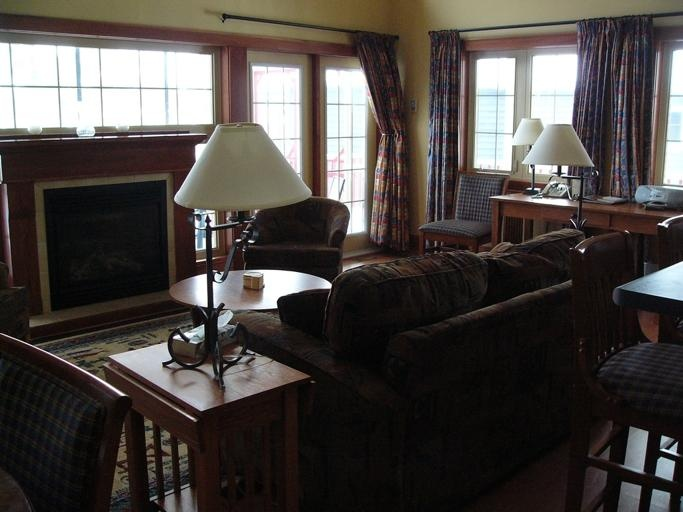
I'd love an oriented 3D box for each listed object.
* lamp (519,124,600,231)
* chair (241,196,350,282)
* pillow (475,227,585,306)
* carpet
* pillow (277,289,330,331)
[{"bbox_3d":[1.744,-0.607,4.165,0.728,0.786,0.438,-13,16,-40],"label":"lamp"},{"bbox_3d":[-0.375,-0.160,4.960,0.803,0.817,0.783,2,4,6],"label":"chair"},{"bbox_3d":[0.935,0.028,2.751,0.488,0.171,0.313,-22,10,-31],"label":"pillow"},{"bbox_3d":[-1.491,1.106,3.776,1.222,0.314,0.814,-7,12,-42],"label":"carpet"},{"bbox_3d":[-0.160,0.236,2.312,0.180,0.195,0.187,6,7,29],"label":"pillow"}]
